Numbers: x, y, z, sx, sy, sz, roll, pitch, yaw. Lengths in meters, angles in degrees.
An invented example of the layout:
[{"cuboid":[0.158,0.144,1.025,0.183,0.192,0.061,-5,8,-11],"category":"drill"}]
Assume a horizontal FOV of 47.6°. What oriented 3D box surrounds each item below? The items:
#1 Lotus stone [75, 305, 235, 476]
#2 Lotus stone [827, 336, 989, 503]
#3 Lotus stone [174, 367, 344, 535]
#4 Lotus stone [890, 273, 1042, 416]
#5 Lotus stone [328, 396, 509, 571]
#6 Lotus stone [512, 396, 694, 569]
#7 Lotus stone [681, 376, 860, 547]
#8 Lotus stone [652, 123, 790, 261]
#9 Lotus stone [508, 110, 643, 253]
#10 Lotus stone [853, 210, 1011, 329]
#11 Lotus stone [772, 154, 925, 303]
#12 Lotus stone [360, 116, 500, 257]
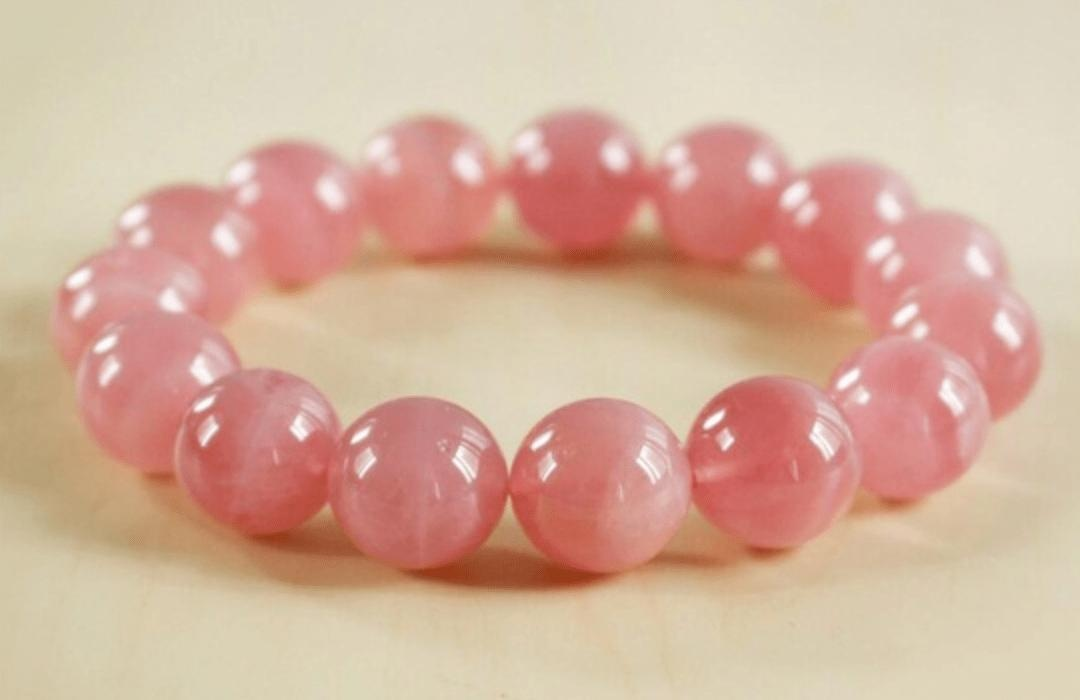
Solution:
[{"cuboid":[-0.629,0.045,1.954,0.241,0.139,0.257,-4,64,-7],"category":"Lotus stone"},{"cuboid":[0.580,0.119,1.997,0.233,0.178,0.254,23,76,25],"category":"Lotus stone"},{"cuboid":[-0.431,0.165,1.953,0.234,0.233,0.247,-4,80,1],"category":"Lotus stone"},{"cuboid":[0.743,-0.046,2.153,0.233,0.242,0.232,14,38,28],"category":"Lotus stone"},{"cuboid":[-0.181,0.196,1.893,0.236,0.238,0.251,0,88,6],"category":"Lotus stone"},{"cuboid":[0.091,0.227,1.908,0.305,0.302,0.315,-1,94,9],"category":"Lotus stone"},{"cuboid":[0.351,0.183,1.942,0.240,0.241,0.243,-4,63,0],"category":"Lotus stone"},{"cuboid":[0.355,-0.290,2.501,0.250,0.260,0.312,2,83,8],"category":"Lotus stone"},{"cuboid":[0.070,-0.343,2.451,0.240,0.147,0.278,0,86,-7],"category":"Lotus stone"},{"cuboid":[0.709,-0.170,2.213,0.216,0.126,0.228,16,60,29],"category":"Lotus stone"},{"cuboid":[0.559,-0.251,2.356,0.254,0.269,0.307,-1,36,8],"category":"Lotus stone"},{"cuboid":[-0.223,-0.319,2.447,0.254,0.171,0.274,0,82,-4],"category":"Lotus stone"}]
